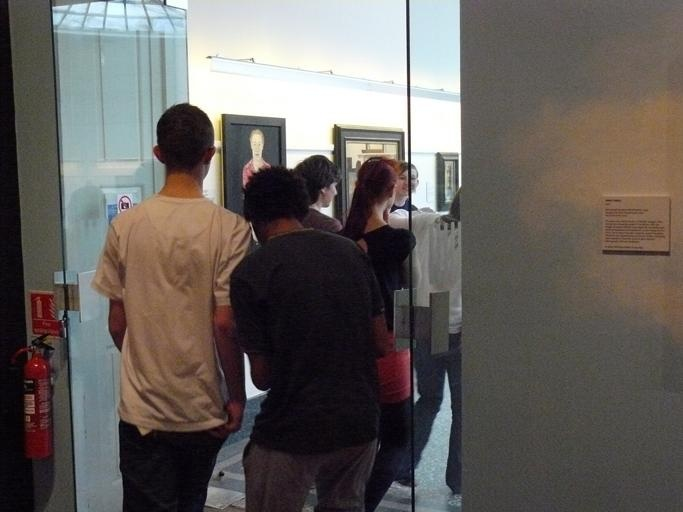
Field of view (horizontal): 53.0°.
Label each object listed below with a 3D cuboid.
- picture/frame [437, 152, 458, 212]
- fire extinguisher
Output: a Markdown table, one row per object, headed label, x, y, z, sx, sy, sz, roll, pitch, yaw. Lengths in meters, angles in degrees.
| label | x | y | z | sx | sy | sz | roll | pitch | yaw |
| --- | --- | --- | --- | --- | --- | --- | --- | --- | --- |
| picture/frame | 0.284 | -0.196 | 1.796 | 0.058 | 0.148 | 0.014 | 3 | 8 | 29 |
| fire extinguisher | -1.036 | 0.488 | 2.296 | 0.105 | 0.452 | 0.076 | 3 | 6 | 27 |
